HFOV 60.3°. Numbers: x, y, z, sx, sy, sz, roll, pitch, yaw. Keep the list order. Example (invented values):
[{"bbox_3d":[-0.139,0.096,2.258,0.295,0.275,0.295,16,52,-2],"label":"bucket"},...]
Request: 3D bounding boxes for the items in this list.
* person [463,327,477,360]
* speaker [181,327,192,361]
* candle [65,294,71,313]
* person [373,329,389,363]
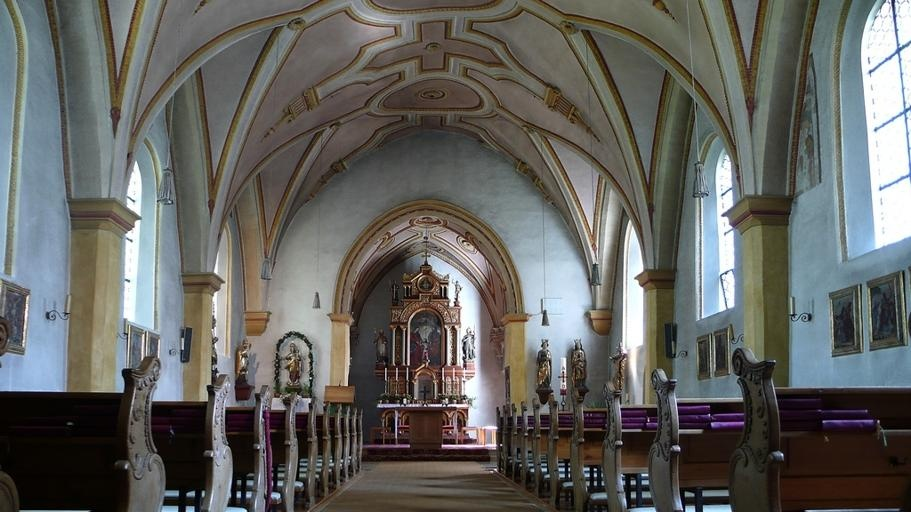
[{"bbox_3d":[0.556,3.480,31.144,0.549,1.336,0.311,6,-17,-18],"label":"person"},{"bbox_3d":[-6.405,2.115,18.787,0.236,0.784,0.426,6,-17,-19],"label":"speaker"},{"bbox_3d":[-6.990,0.853,14.225,0.073,0.323,0.130,5,-17,-17],"label":"candle"},{"bbox_3d":[-2.907,3.602,31.326,0.526,1.372,0.525,3,-16,-9],"label":"person"}]
